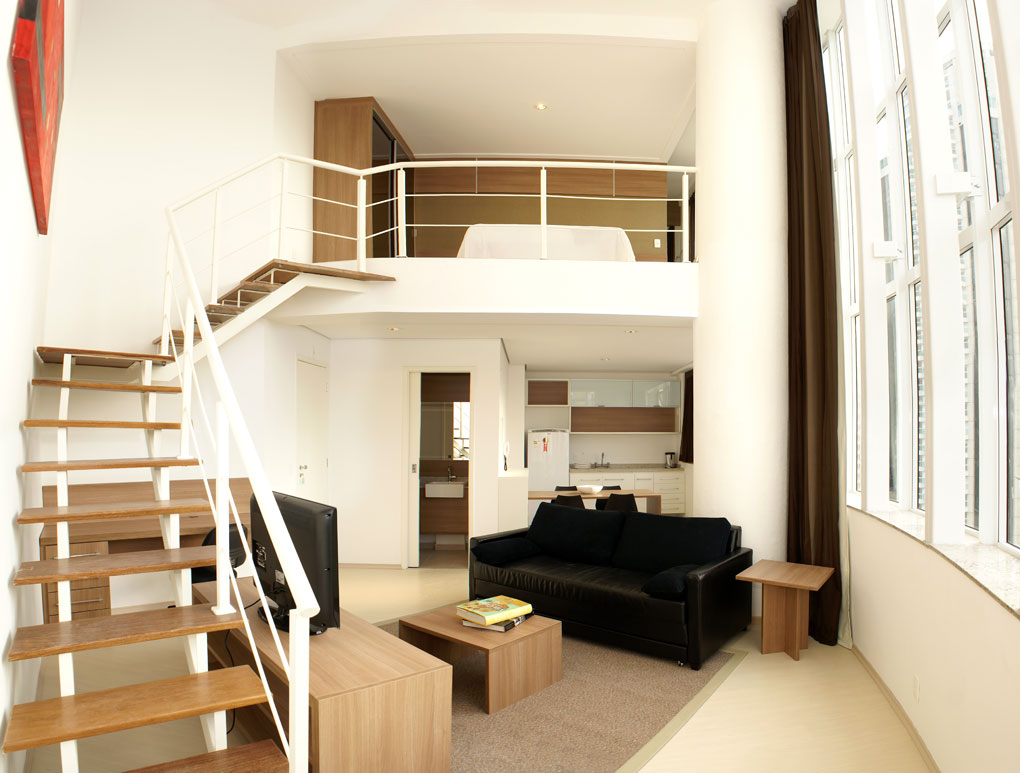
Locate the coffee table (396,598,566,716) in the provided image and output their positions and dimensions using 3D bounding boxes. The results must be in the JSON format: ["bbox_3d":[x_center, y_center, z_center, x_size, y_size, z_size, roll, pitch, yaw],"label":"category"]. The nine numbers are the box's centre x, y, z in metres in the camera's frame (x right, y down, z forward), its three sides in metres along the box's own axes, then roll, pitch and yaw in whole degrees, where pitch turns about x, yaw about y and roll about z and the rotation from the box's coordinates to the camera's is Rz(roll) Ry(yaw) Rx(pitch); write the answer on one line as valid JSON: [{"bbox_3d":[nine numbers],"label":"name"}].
[{"bbox_3d":[-0.050,1.750,5.315,0.568,0.365,0.749,0,1,-39],"label":"coffee table"}]

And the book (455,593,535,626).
[{"bbox_3d":[-0.086,1.563,5.602,0.297,0.066,0.305,0,1,40],"label":"book"}]

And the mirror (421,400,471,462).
[{"bbox_3d":[-0.790,0.507,9.491,0.622,0.669,0.046,1,-1,-26],"label":"mirror"}]

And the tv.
[{"bbox_3d":[-1.072,0.891,3.950,0.210,0.700,0.790,-4,8,-36],"label":"tv"}]

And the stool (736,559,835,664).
[{"bbox_3d":[2.043,1.667,5.910,0.593,0.589,0.622,1,1,39],"label":"stool"}]

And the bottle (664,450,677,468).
[{"bbox_3d":[2.419,1.101,12.103,0.139,0.208,0.211,0,-7,-7],"label":"bottle"}]
